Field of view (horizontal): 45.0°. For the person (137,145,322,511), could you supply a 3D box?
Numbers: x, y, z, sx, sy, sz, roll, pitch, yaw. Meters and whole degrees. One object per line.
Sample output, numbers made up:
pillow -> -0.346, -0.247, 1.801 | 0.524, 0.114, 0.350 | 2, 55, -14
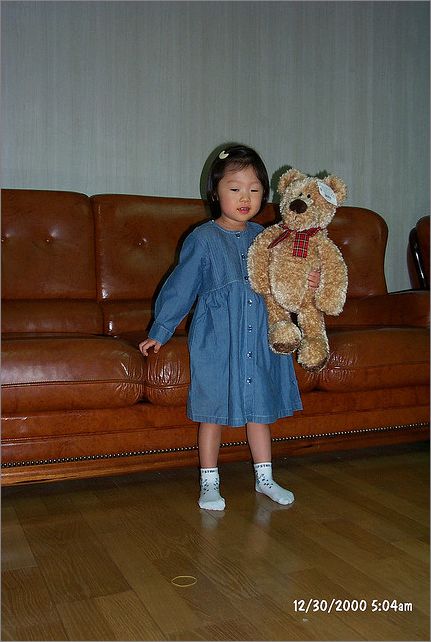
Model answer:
person -> 0.025, 0.006, 1.385 | 0.440, 0.928, 0.242 | 0, 0, -20
